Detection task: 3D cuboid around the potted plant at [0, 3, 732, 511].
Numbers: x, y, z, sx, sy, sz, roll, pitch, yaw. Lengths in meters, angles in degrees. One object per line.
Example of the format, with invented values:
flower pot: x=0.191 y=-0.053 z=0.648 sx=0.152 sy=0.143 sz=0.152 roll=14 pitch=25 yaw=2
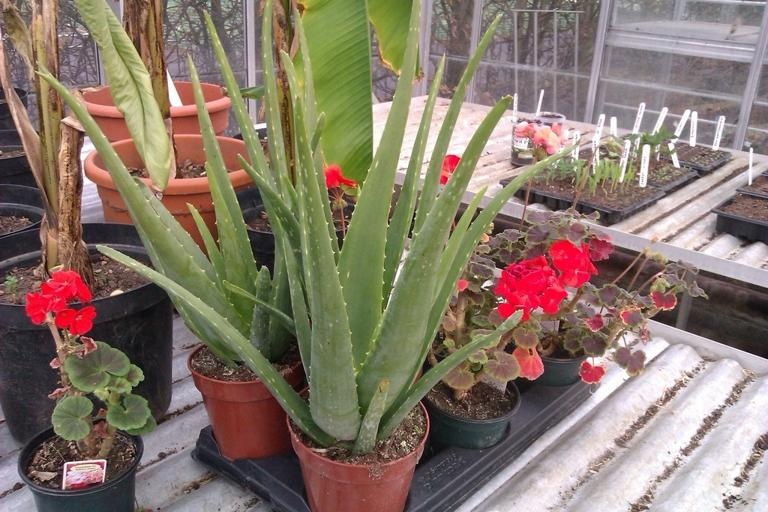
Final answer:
potted plant: x=0.079 y=-0.045 z=1.588 sx=1.326 sy=1.348 sz=1.224 roll=16 pitch=32 yaw=26
